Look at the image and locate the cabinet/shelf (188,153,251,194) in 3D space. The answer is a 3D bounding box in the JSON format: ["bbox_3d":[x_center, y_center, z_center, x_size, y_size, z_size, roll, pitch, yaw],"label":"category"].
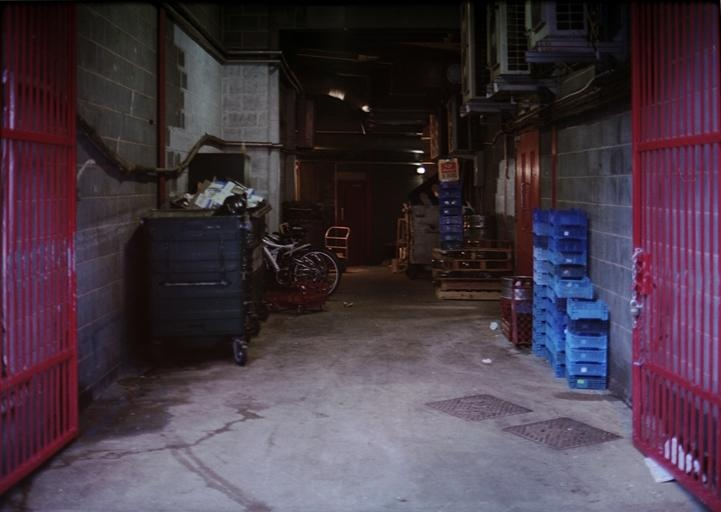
[{"bbox_3d":[-2.537,-1.544,10.839,1.314,0.837,0.682,0,5,-5],"label":"cabinet/shelf"}]

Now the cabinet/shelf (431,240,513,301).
[{"bbox_3d":[2.472,0.295,13.190,1.713,1.149,1.216,0,7,4],"label":"cabinet/shelf"}]

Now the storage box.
[{"bbox_3d":[2.586,0.521,7.490,0.820,2.059,2.286,0,0,4],"label":"storage box"}]

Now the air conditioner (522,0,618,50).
[{"bbox_3d":[2.563,-2.768,7.197,0.952,0.639,0.791,-1,7,-7],"label":"air conditioner"}]

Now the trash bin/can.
[{"bbox_3d":[-2.348,0.270,8.871,1.840,2.197,2.766,0,1,-3],"label":"trash bin/can"}]

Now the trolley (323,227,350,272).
[{"bbox_3d":[-0.842,-0.357,20.712,1.040,1.321,1.028,-2,8,-43],"label":"trolley"}]
